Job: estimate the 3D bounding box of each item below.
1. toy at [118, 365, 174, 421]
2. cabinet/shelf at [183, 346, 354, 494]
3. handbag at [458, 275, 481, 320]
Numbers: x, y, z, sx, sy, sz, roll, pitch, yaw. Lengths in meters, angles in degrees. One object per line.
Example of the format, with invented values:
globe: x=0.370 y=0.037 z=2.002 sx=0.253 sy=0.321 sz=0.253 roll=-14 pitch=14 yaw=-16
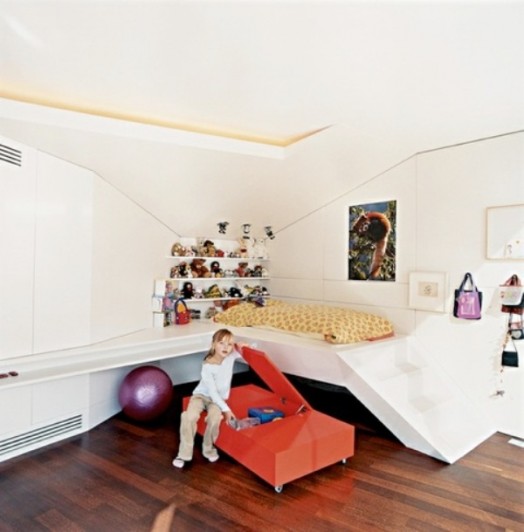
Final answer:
toy: x=-0.962 y=1.067 z=3.667 sx=0.479 sy=0.479 sz=0.444 roll=-4 pitch=17 yaw=-21
cabinet/shelf: x=-0.021 y=0.944 z=3.183 sx=0.681 sy=0.685 sz=1.208 roll=-6 pitch=12 yaw=-40
handbag: x=1.689 y=0.257 z=3.617 sx=0.075 sy=0.397 sz=0.192 roll=-3 pitch=5 yaw=-38
